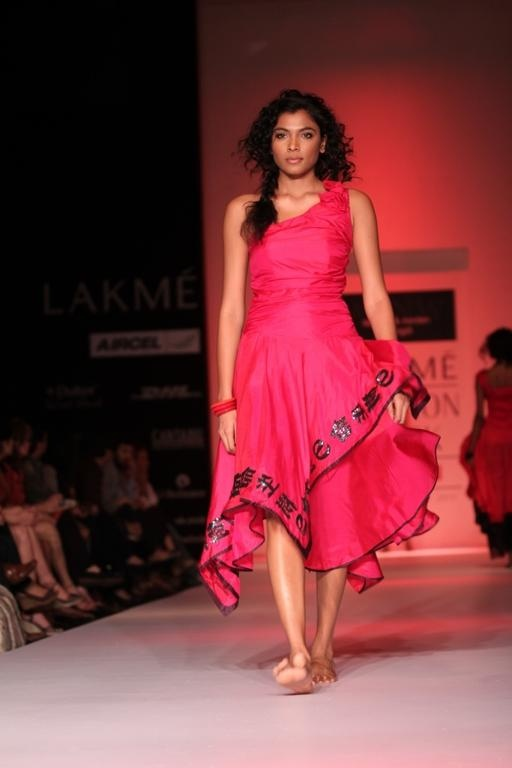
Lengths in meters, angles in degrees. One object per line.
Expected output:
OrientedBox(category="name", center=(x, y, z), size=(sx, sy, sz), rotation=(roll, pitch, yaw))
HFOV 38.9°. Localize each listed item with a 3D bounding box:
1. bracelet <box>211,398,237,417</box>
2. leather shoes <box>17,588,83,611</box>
OrientedBox(category="bracelet", center=(-0.081, 0.055, 1.757), size=(0.051, 0.019, 0.048), rotation=(-10, -6, -23))
OrientedBox(category="leather shoes", center=(-0.738, 0.753, 2.510), size=(0.064, 0.043, 0.182), rotation=(1, 0, 29))
